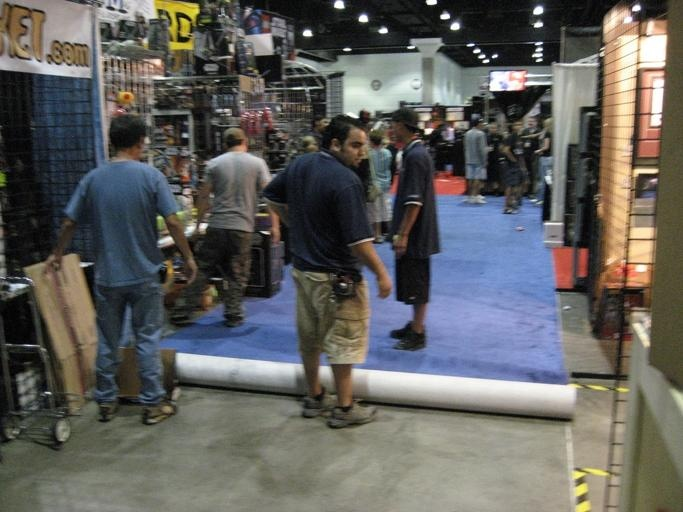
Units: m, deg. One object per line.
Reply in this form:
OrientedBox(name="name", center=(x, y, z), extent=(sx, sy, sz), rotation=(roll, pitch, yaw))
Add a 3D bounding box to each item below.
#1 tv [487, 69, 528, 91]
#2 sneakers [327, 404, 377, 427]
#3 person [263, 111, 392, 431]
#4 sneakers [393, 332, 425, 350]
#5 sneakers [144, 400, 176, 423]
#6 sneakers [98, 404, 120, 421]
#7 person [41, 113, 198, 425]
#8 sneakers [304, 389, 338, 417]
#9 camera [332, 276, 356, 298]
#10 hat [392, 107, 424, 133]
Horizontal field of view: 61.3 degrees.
OrientedBox(name="tv", center=(6.965, -7.299, 24.007), extent=(1.078, 0.810, 1.788), rotation=(-8, 15, -25))
OrientedBox(name="sneakers", center=(0.063, 0.983, 3.576), extent=(0.358, 0.120, 0.118), rotation=(-2, 7, -11))
OrientedBox(name="person", center=(-0.043, 0.100, 3.508), extent=(0.515, 1.858, 0.661), rotation=(-5, 17, -14))
OrientedBox(name="sneakers", center=(0.585, 0.706, 4.691), extent=(0.325, 0.108, 0.104), rotation=(1, 6, -13))
OrientedBox(name="sneakers", center=(-1.140, 0.979, 3.622), extent=(0.087, 0.073, 0.189), rotation=(7, 10, 18))
OrientedBox(name="sneakers", center=(-1.455, 0.971, 3.605), extent=(0.106, 0.095, 0.117), rotation=(3, 10, -1))
OrientedBox(name="person", center=(-1.283, 0.088, 3.544), extent=(0.799, 1.864, 0.589), rotation=(-8, 18, -22))
OrientedBox(name="sneakers", center=(-0.139, 0.955, 3.726), extent=(0.110, 0.094, 0.245), rotation=(6, 9, 42))
OrientedBox(name="camera", center=(0.010, 0.178, 3.306), extent=(0.143, 0.106, 0.069), rotation=(3, 31, 2))
OrientedBox(name="hat", center=(0.511, -1.017, 4.330), extent=(0.186, 0.191, 0.165), rotation=(-4, 3, 0))
